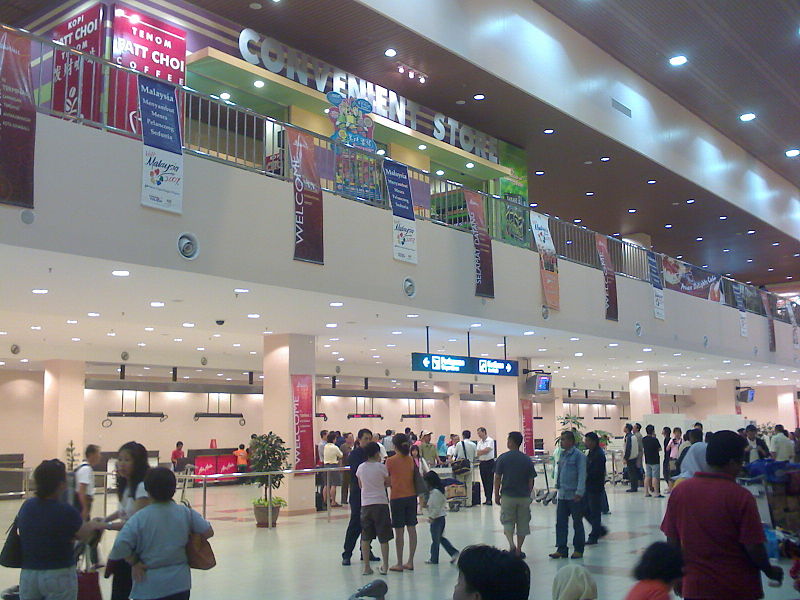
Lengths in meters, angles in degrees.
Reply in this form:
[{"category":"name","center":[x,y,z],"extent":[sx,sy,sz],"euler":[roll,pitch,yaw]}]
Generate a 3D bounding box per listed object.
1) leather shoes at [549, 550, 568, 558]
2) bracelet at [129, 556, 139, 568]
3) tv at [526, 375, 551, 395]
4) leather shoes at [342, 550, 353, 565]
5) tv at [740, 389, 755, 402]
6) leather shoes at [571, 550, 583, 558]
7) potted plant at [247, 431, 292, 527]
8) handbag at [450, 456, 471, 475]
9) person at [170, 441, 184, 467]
[{"category":"leather shoes","center":[2.574,4.037,9.624],"extent":[0.346,0.186,0.120],"euler":[9,-14,-19]},{"category":"bracelet","center":[-1.834,1.812,4.169],"extent":[0.059,0.063,0.062],"euler":[0,-5,29]},{"category":"tv","center":[5.275,3.138,22.431],"extent":[0.747,0.884,0.807],"euler":[8,-10,-37]},{"category":"leather shoes","center":[-0.811,4.078,9.529],"extent":[0.196,0.208,0.114],"euler":[-1,-8,31]},{"category":"tv","center":[20.441,5.584,35.412],"extent":[0.678,0.915,0.879],"euler":[-5,-11,31]},{"category":"leather shoes","center":[2.810,4.015,9.550],"extent":[0.178,0.126,0.280],"euler":[-5,-13,15]},{"category":"potted plant","center":[-3.036,4.193,14.366],"extent":[0.906,2.076,1.015],"euler":[-6,-6,30]},{"category":"handbag","center":[1.683,4.575,16.388],"extent":[0.562,0.355,0.577],"euler":[-12,30,5]},{"category":"person","center":[-8.734,6.056,23.851],"extent":[0.407,0.958,2.630],"euler":[3,-13,-19]}]
